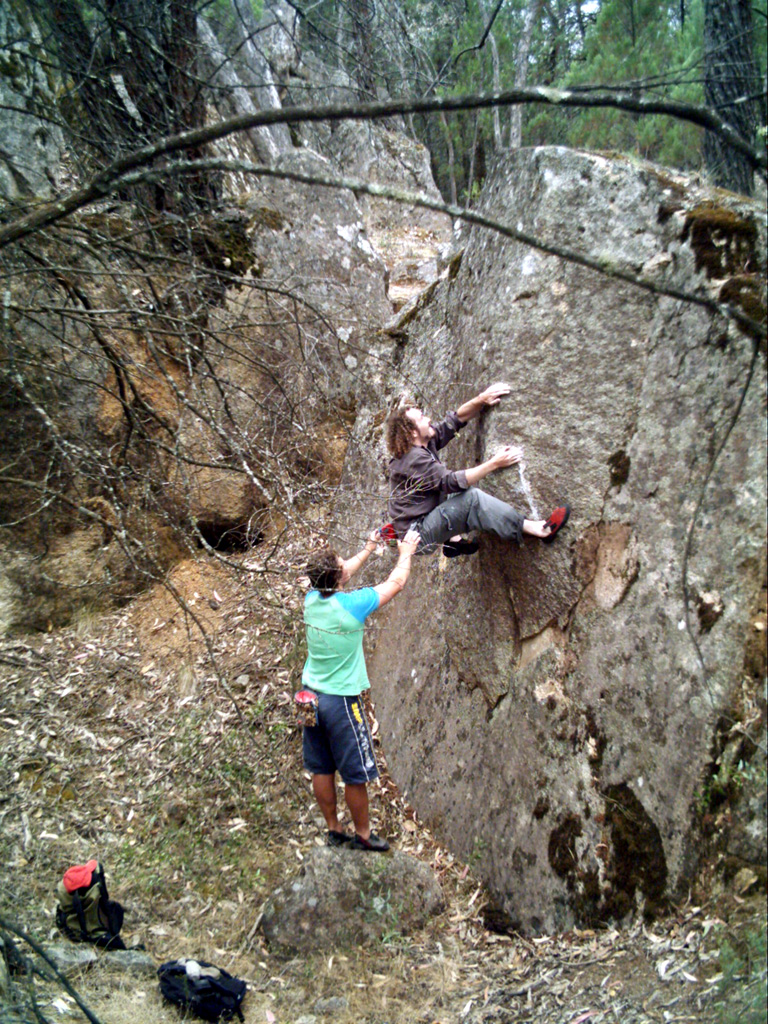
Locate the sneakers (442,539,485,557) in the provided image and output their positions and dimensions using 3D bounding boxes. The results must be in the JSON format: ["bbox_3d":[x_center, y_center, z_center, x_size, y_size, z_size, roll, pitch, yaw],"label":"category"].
[{"bbox_3d":[0.461,0.212,4.450,0.234,0.094,0.080,-9,17,9],"label":"sneakers"}]

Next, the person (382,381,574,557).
[{"bbox_3d":[0.514,-0.238,4.122,1.018,0.893,0.737,1,9,43],"label":"person"}]

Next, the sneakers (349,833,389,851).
[{"bbox_3d":[-0.070,1.714,3.962,0.178,0.072,0.087,0,-1,1],"label":"sneakers"}]

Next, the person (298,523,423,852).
[{"bbox_3d":[-0.140,0.963,3.870,0.633,1.619,0.468,-9,10,-20],"label":"person"}]

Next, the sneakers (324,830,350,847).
[{"bbox_3d":[-0.241,1.719,4.053,0.055,0.065,0.152,11,5,42],"label":"sneakers"}]

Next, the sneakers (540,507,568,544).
[{"bbox_3d":[0.816,0.065,3.696,0.060,0.166,0.073,-11,37,-44],"label":"sneakers"}]
